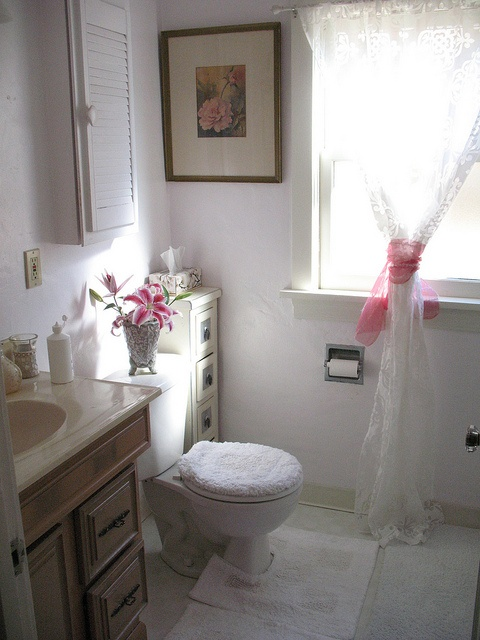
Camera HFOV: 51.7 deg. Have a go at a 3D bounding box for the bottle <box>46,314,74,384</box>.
[{"bbox_3d":[-0.492,0.069,1.348,0.059,0.162,0.125,-4,9,-21],"label":"bottle"}]

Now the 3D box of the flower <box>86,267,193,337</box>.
[{"bbox_3d":[-0.377,-0.072,1.798,0.222,0.173,0.229,24,-5,5],"label":"flower"}]

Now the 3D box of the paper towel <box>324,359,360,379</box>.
[{"bbox_3d":[0.410,0.203,1.981,0.131,0.096,0.086,1,-13,16],"label":"paper towel"}]

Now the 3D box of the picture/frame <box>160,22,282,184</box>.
[{"bbox_3d":[-0.064,-0.905,2.002,0.485,0.721,0.029,6,21,20],"label":"picture/frame"}]

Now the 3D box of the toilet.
[{"bbox_3d":[-0.090,0.526,1.784,0.563,0.740,0.412,4,17,18],"label":"toilet"}]
